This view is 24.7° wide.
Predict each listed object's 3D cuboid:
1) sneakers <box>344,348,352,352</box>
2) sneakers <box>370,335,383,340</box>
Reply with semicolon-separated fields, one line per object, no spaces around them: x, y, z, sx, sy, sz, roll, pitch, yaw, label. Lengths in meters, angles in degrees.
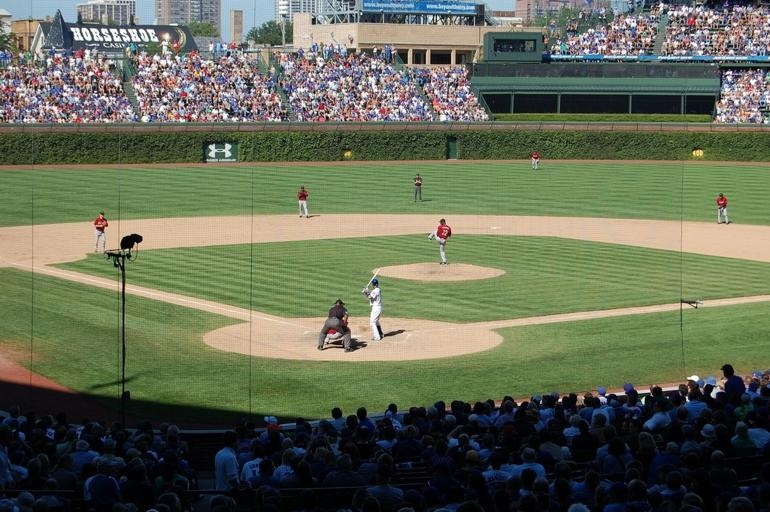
-2.118;5.085;95.339;0.289;0.167;0.463;0;1;-5;sneakers
-0.524;4.485;96.399;0.661;0.231;0.227;2;5;13;sneakers
